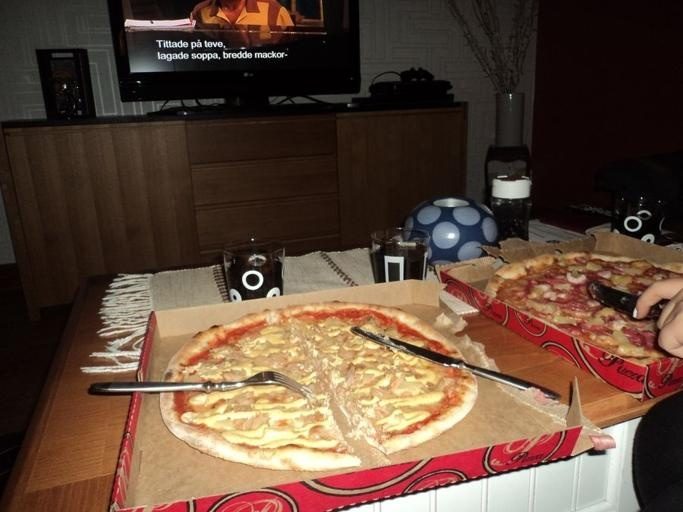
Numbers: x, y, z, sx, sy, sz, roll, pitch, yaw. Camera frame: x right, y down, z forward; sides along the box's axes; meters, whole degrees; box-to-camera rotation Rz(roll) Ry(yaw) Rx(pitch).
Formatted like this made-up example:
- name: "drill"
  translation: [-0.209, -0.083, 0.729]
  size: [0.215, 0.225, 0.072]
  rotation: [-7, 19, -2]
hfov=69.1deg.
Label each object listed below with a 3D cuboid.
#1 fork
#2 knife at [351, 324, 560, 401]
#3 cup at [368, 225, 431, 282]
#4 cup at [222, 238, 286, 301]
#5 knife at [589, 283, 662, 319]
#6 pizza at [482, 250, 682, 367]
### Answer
- name: "fork"
  translation: [-0.188, 0.184, 0.706]
  size: [0.320, 0.039, 0.040]
  rotation: [0, 28, -6]
- name: "knife"
  translation: [0.174, 0.162, 0.746]
  size: [0.279, 0.018, 0.036]
  rotation: [15, 59, 24]
- name: "cup"
  translation: [0.120, 0.007, 1.091]
  size: [0.157, 0.142, 0.158]
  rotation: [1, 8, 0]
- name: "cup"
  translation: [-0.174, 0.035, 0.987]
  size: [0.123, 0.110, 0.119]
  rotation: [1, 22, -1]
- name: "knife"
  translation: [0.428, 0.069, 0.751]
  size: [0.029, 0.031, 0.106]
  rotation: [38, -2, -30]
- name: "pizza"
  translation: [0.408, 0.047, 0.850]
  size: [0.245, 0.031, 0.206]
  rotation: [-13, 27, -24]
